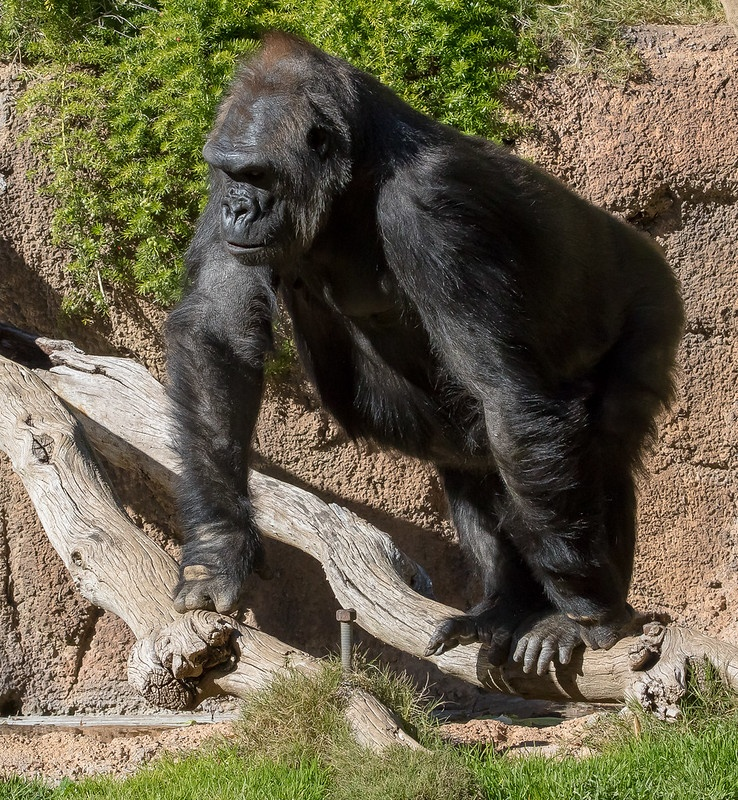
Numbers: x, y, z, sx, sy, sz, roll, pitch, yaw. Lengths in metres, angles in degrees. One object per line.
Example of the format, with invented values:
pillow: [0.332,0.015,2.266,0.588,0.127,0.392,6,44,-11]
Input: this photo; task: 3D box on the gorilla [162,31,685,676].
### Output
gorilla: [0.160,-0.146,5.021,1.611,1.963,0.955,-3,23,8]
